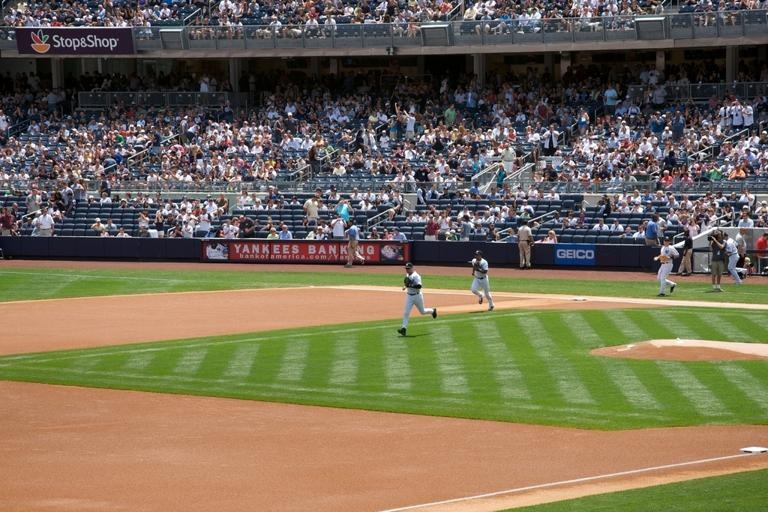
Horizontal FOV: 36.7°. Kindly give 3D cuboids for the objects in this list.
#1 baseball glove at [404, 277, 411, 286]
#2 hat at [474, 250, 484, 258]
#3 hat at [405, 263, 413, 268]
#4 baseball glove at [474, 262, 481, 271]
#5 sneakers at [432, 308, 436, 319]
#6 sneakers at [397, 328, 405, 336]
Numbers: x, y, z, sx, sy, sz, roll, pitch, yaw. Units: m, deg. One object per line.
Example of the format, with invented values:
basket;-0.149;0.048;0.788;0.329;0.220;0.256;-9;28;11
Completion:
baseball glove;0.786;0.863;37.599;0.095;0.351;0.217;-12;17;-39
hat;3.725;-0.051;45.276;0.386;0.196;0.271;25;-11;-39
hat;0.847;0.334;37.510;0.220;0.113;0.166;7;-6;-36
baseball glove;3.309;0.381;40.885;0.268;0.316;0.074;9;17;37
sneakers;1.687;1.967;38.634;0.118;0.332;0.146;11;15;39
sneakers;0.611;2.499;37.869;0.207;0.131;0.299;-3;9;-17
